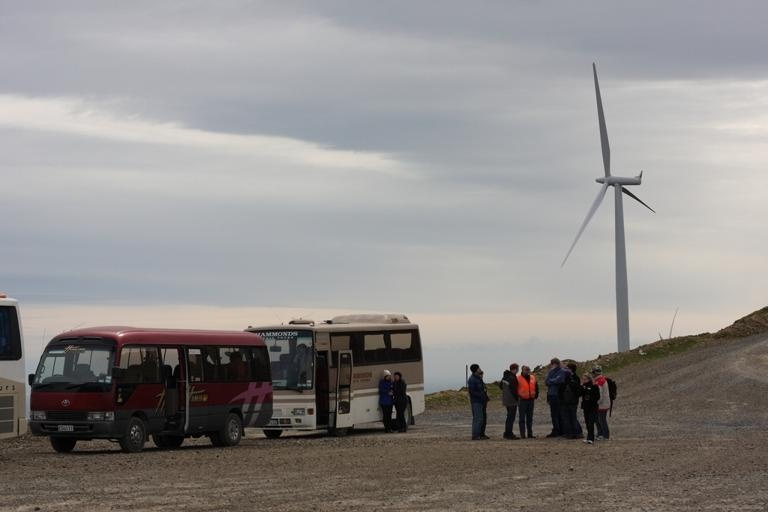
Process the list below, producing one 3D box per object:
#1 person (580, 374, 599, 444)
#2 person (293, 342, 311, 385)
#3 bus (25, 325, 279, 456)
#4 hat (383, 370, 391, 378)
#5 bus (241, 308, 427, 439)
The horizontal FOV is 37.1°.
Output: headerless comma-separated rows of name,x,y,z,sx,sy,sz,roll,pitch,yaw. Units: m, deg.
person,6.248,4.610,34.682,0.538,2.061,1.074,-3,-10,9
person,-2.613,3.561,37.317,0.580,1.437,0.268,-6,-11,28
bus,-6.511,3.866,33.561,6.349,3.610,1.794,7,-13,-42
hat,0.112,4.077,39.673,0.270,0.250,0.274,-2,-18,-2
bus,-1.592,4.170,41.116,3.689,3.764,9.059,-2,-4,24
